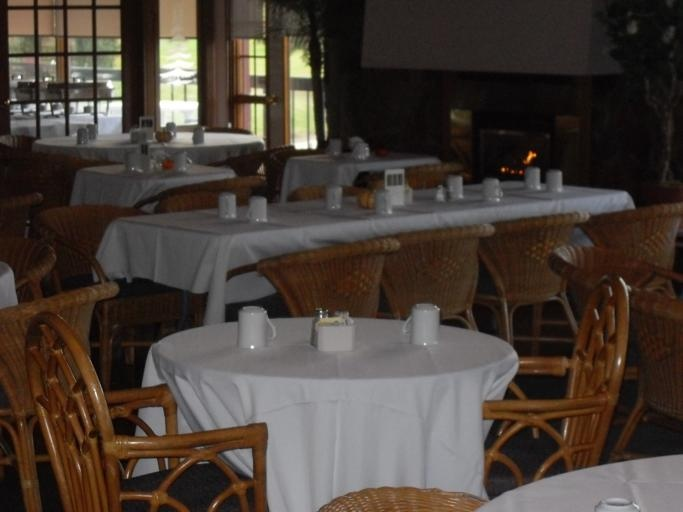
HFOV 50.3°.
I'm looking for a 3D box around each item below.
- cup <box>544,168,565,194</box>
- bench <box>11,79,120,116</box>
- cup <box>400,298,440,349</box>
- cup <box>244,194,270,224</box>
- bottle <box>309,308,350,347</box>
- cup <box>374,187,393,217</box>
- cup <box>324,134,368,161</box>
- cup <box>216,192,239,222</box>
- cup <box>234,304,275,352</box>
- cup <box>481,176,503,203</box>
[{"bbox_3d":[1.479,-0.515,5.108,0.144,0.194,0.153,0,12,0],"label":"cup"},{"bbox_3d":[-3.661,-2.102,9.522,1.278,0.382,0.136,-7,8,-36],"label":"bench"},{"bbox_3d":[0.241,0.223,2.277,0.126,0.141,0.084,-1,2,1],"label":"cup"},{"bbox_3d":[-0.465,-0.254,3.977,0.122,0.142,0.111,-5,9,-28],"label":"cup"},{"bbox_3d":[-0.030,0.227,2.196,0.090,0.128,0.114,-1,5,-11],"label":"bottle"},{"bbox_3d":[0.238,-0.308,4.217,0.110,0.191,0.123,0,8,17],"label":"cup"},{"bbox_3d":[0.083,-1.004,6.792,0.233,0.165,0.376,-8,12,-42],"label":"cup"},{"bbox_3d":[-0.648,-0.271,4.068,0.093,0.155,0.141,0,-1,-7],"label":"cup"},{"bbox_3d":[-0.265,0.220,2.239,0.125,0.146,0.089,0,-1,1],"label":"cup"},{"bbox_3d":[0.979,-0.425,4.775,0.151,0.183,0.104,0,2,30],"label":"cup"}]
